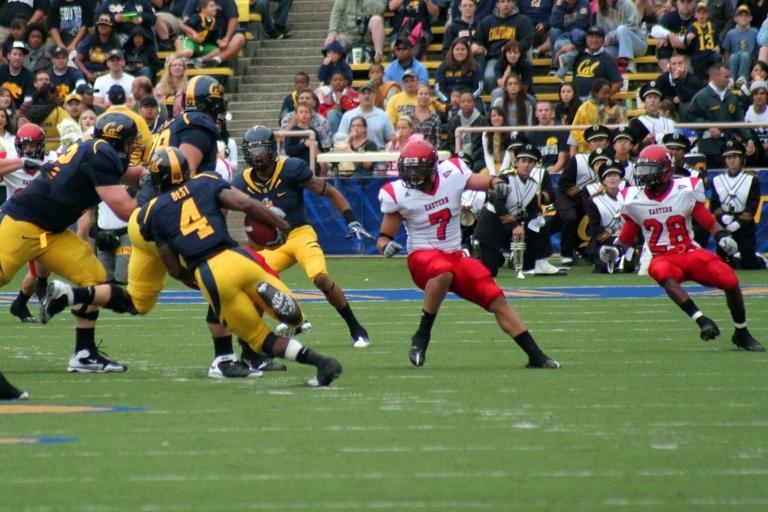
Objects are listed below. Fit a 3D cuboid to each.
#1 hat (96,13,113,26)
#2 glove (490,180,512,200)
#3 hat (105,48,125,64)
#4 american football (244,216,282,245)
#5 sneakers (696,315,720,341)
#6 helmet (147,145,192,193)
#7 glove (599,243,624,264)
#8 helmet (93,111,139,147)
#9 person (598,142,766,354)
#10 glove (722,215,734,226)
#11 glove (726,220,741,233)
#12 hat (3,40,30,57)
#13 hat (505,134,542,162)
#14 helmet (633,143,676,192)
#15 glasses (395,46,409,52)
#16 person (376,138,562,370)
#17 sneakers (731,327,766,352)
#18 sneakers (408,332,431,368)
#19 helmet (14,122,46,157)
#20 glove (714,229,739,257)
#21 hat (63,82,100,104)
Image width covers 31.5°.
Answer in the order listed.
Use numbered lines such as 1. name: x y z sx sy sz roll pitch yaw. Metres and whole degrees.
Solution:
1. hat: -4.416 -3.706 21.401 0.361 0.148 0.479 0 0 -5
2. glove: 1.083 -0.615 12.699 0.164 0.119 0.215 15 -9 -22
3. hat: -4.090 -3.008 20.461 0.295 0.194 0.391 -1 -12 -6
4. american football: -1.144 -0.198 12.114 0.306 0.188 0.245 34 9 13
5. sneakers: 3.104 0.703 13.067 0.200 0.278 0.476 1 7 11
6. helmet: -1.888 -0.748 11.894 0.327 0.325 0.420 -12 23 -15
7. glove: 2.391 -0.023 14.410 0.214 0.128 0.334 5 -7 4
8. helmet: -2.469 -1.171 12.593 0.402 0.296 0.270 10 29 -13
9. person: 3.074 -0.103 13.462 0.894 1.948 1.269 -4 8 -35
10. glove: 4.542 -0.471 17.999 0.163 0.101 0.132 4 2 -14
11. glove: 4.571 -0.367 17.761 0.139 0.067 0.177 -28 6 -13
12. hat: -5.773 -3.237 21.304 0.384 0.154 0.488 3 -12 -10
13. hat: 1.834 -1.399 17.831 0.410 0.171 0.408 3 -19 6
14. helmet: 2.668 -0.871 13.447 0.340 0.359 0.475 -4 11 32
15. glasses: 0.237 -3.173 20.925 0.209 0.064 0.080 6 9 43
16. person: 0.623 -0.027 12.548 1.354 2.012 0.595 0 7 -1
17. sneakers: 3.539 0.794 13.185 0.323 0.232 0.267 2 7 19
18. sneakers: 0.318 0.865 12.565 0.173 0.322 0.286 0 7 2
19. helmet: -3.906 -1.247 14.904 0.294 0.380 0.507 -2 7 -16
20. glove: 3.830 -0.152 15.123 0.208 0.270 0.522 -17 -18 16
21. hat: -4.396 -2.350 19.747 0.472 0.231 0.281 4 5 -40
